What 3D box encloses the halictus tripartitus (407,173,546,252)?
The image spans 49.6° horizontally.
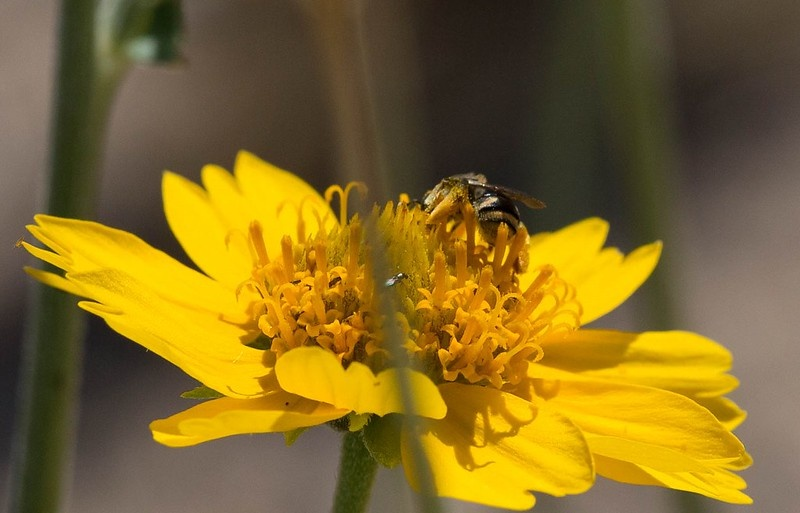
[{"bbox_3d":[0.120,-0.063,1.385,0.156,0.119,0.056,22,84,-20],"label":"halictus tripartitus"}]

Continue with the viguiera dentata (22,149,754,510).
[{"bbox_3d":[0.022,0.120,1.205,0.629,0.210,0.622,17,16,-33],"label":"viguiera dentata"}]

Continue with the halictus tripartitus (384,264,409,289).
[{"bbox_3d":[-0.003,0.023,0.903,0.017,0.022,0.008,12,34,-39],"label":"halictus tripartitus"}]
